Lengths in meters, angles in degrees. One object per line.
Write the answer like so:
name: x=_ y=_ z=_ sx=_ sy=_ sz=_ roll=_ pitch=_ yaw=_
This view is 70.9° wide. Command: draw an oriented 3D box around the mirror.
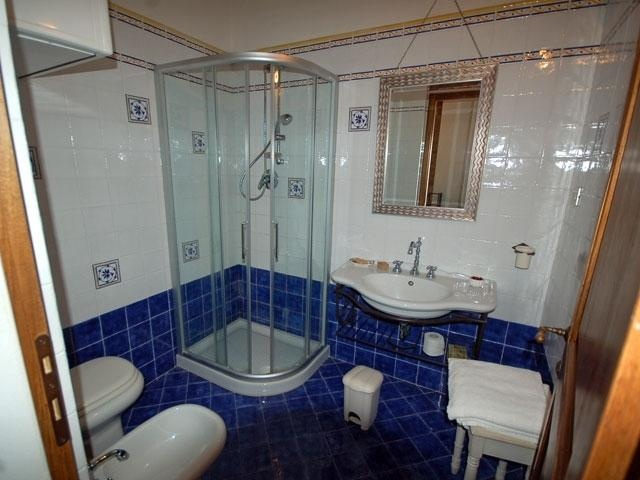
mirror: x=0.776 y=-0.666 z=2.908 sx=0.916 sy=1.322 sz=0.053 roll=6 pitch=14 yaw=28

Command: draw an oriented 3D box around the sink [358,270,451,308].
sink: x=0.530 y=0.353 z=2.878 sx=0.583 sy=0.160 sz=0.374 roll=11 pitch=17 yaw=24

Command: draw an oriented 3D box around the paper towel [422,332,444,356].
paper towel: x=0.756 y=0.699 z=3.041 sx=0.118 sy=0.122 sz=0.150 roll=-9 pitch=13 yaw=-41

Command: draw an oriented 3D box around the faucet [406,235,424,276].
faucet: x=0.645 y=0.107 z=3.062 sx=0.095 sy=0.236 sz=0.148 roll=7 pitch=15 yaw=13

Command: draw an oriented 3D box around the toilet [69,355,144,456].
toilet: x=-1.218 y=0.964 z=2.775 sx=0.328 sy=0.388 sz=0.519 roll=24 pitch=28 yaw=40
